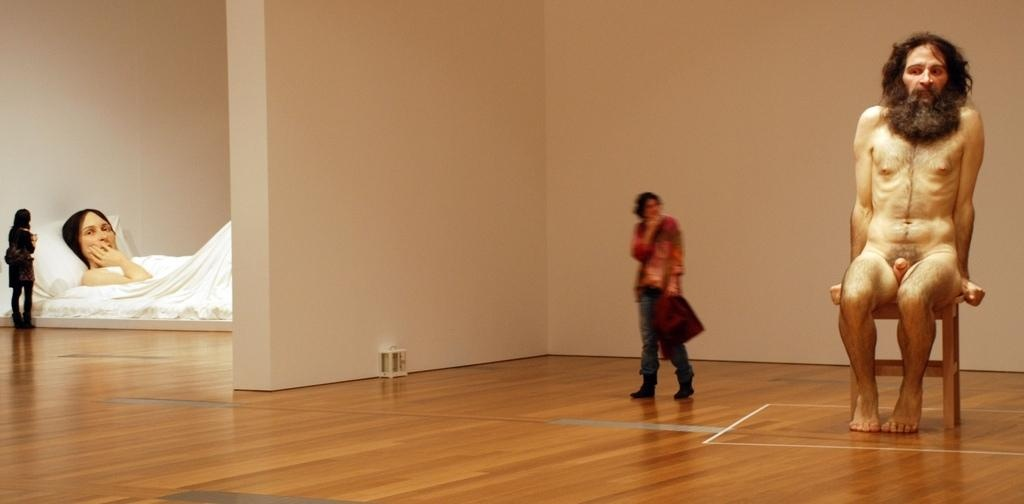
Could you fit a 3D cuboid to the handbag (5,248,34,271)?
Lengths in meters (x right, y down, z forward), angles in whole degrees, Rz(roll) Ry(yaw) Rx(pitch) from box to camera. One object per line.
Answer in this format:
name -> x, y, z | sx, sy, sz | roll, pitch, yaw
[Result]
handbag -> -8.457, 0.137, 14.412 | 0.446, 0.366, 0.191 | -1, 10, 3
